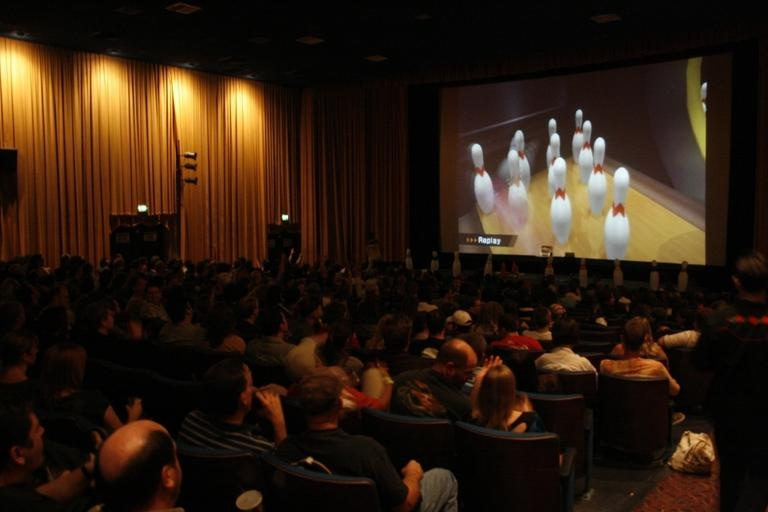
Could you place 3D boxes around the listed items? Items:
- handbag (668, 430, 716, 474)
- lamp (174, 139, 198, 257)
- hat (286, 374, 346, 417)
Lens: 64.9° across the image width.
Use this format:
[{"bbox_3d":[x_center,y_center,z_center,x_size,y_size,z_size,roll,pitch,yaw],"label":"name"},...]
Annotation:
[{"bbox_3d":[2.998,1.830,5.830,0.527,0.233,0.457,-14,10,43],"label":"handbag"},{"bbox_3d":[-5.270,-1.470,16.000,0.442,2.744,0.326,5,3,-9],"label":"lamp"},{"bbox_3d":[-0.464,0.954,4.281,0.314,0.375,0.400,3,23,7],"label":"hat"}]
